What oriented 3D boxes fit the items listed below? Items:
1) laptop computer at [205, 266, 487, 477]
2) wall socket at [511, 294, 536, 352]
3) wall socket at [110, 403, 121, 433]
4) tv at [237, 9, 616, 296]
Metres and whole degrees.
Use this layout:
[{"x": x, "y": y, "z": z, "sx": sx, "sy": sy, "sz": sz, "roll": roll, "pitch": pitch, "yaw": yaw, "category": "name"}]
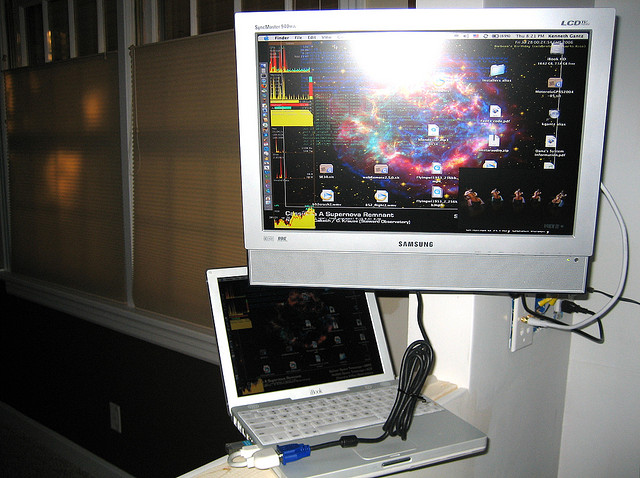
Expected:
[{"x": -0.004, "y": 0.226, "z": 1.302, "sx": 0.527, "sy": 0.397, "sz": 0.586, "roll": -3, "pitch": 5, "yaw": -30, "category": "laptop computer"}, {"x": 0.669, "y": 0.274, "z": 1.644, "sx": 0.036, "sy": 0.209, "sz": 0.147, "roll": 9, "pitch": 18, "yaw": 39, "category": "wall socket"}, {"x": -1.014, "y": 0.884, "z": 2.494, "sx": 0.008, "sy": 0.164, "sz": 0.149, "roll": -3, "pitch": 8, "yaw": -35, "category": "wall socket"}, {"x": 0.247, "y": -0.217, "z": 1.165, "sx": 0.666, "sy": 0.510, "sz": 0.047, "roll": 2, "pitch": 11, "yaw": 0, "category": "tv"}]
